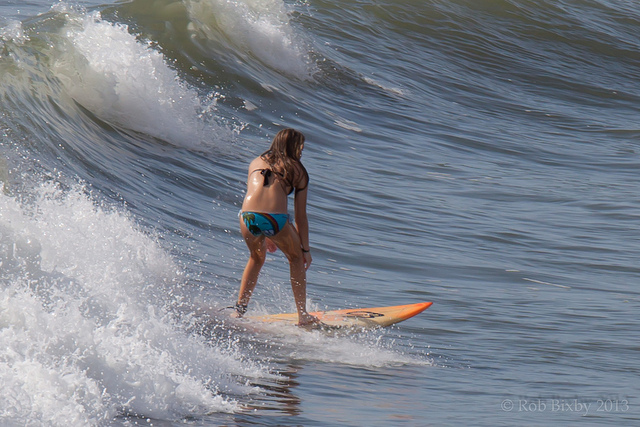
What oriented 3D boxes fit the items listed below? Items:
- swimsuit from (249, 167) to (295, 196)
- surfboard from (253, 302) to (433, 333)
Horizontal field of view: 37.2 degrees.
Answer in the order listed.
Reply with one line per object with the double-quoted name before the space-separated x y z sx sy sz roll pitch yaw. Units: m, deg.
"swimsuit" -0.559 -0.351 10.075 0.371 0.098 0.278 17 98 11
"surfboard" 0.513 1.138 10.628 1.451 0.527 0.396 -14 54 -3
